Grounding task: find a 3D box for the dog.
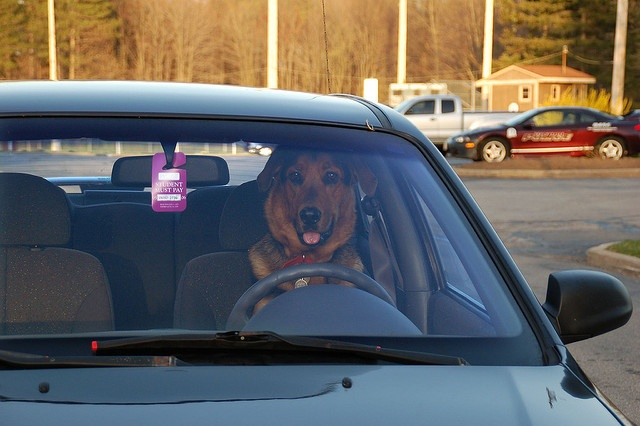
[{"bbox_3d":[-0.048,0.124,6.310,0.844,1.135,0.794,1,-5,-2],"label":"dog"}]
